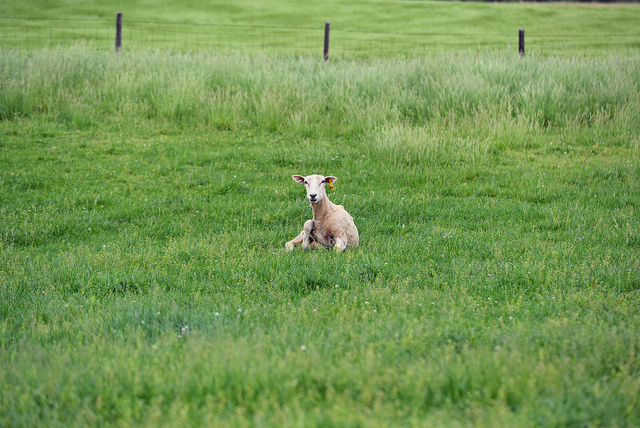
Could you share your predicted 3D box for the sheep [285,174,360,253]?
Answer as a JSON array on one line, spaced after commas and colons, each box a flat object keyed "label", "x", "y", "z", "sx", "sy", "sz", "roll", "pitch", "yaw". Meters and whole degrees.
[{"label": "sheep", "x": 0.056, "y": -0.011, "z": 21.325, "sx": 1.198, "sy": 1.669, "sz": 1.933, "roll": 0, "pitch": 2, "yaw": 28}]
